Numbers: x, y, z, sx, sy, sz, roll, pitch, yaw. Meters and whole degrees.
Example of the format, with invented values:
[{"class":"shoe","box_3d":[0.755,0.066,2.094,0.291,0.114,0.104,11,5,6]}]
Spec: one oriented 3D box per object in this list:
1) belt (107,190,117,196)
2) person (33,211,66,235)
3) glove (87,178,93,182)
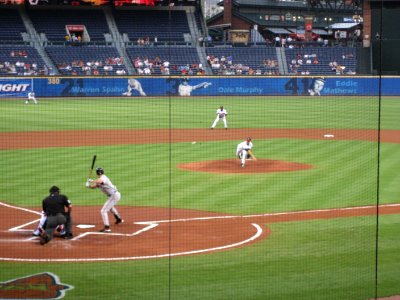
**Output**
[{"class":"belt","box_3d":[-4.751,2.348,38.376,0.315,0.084,0.247,-28,-6,23]},{"class":"person","box_3d":[-8.049,3.954,37.801,1.245,0.555,1.541,18,32,-11]},{"class":"glove","box_3d":[-5.987,1.664,38.847,0.280,0.141,0.338,2,8,-2]}]
